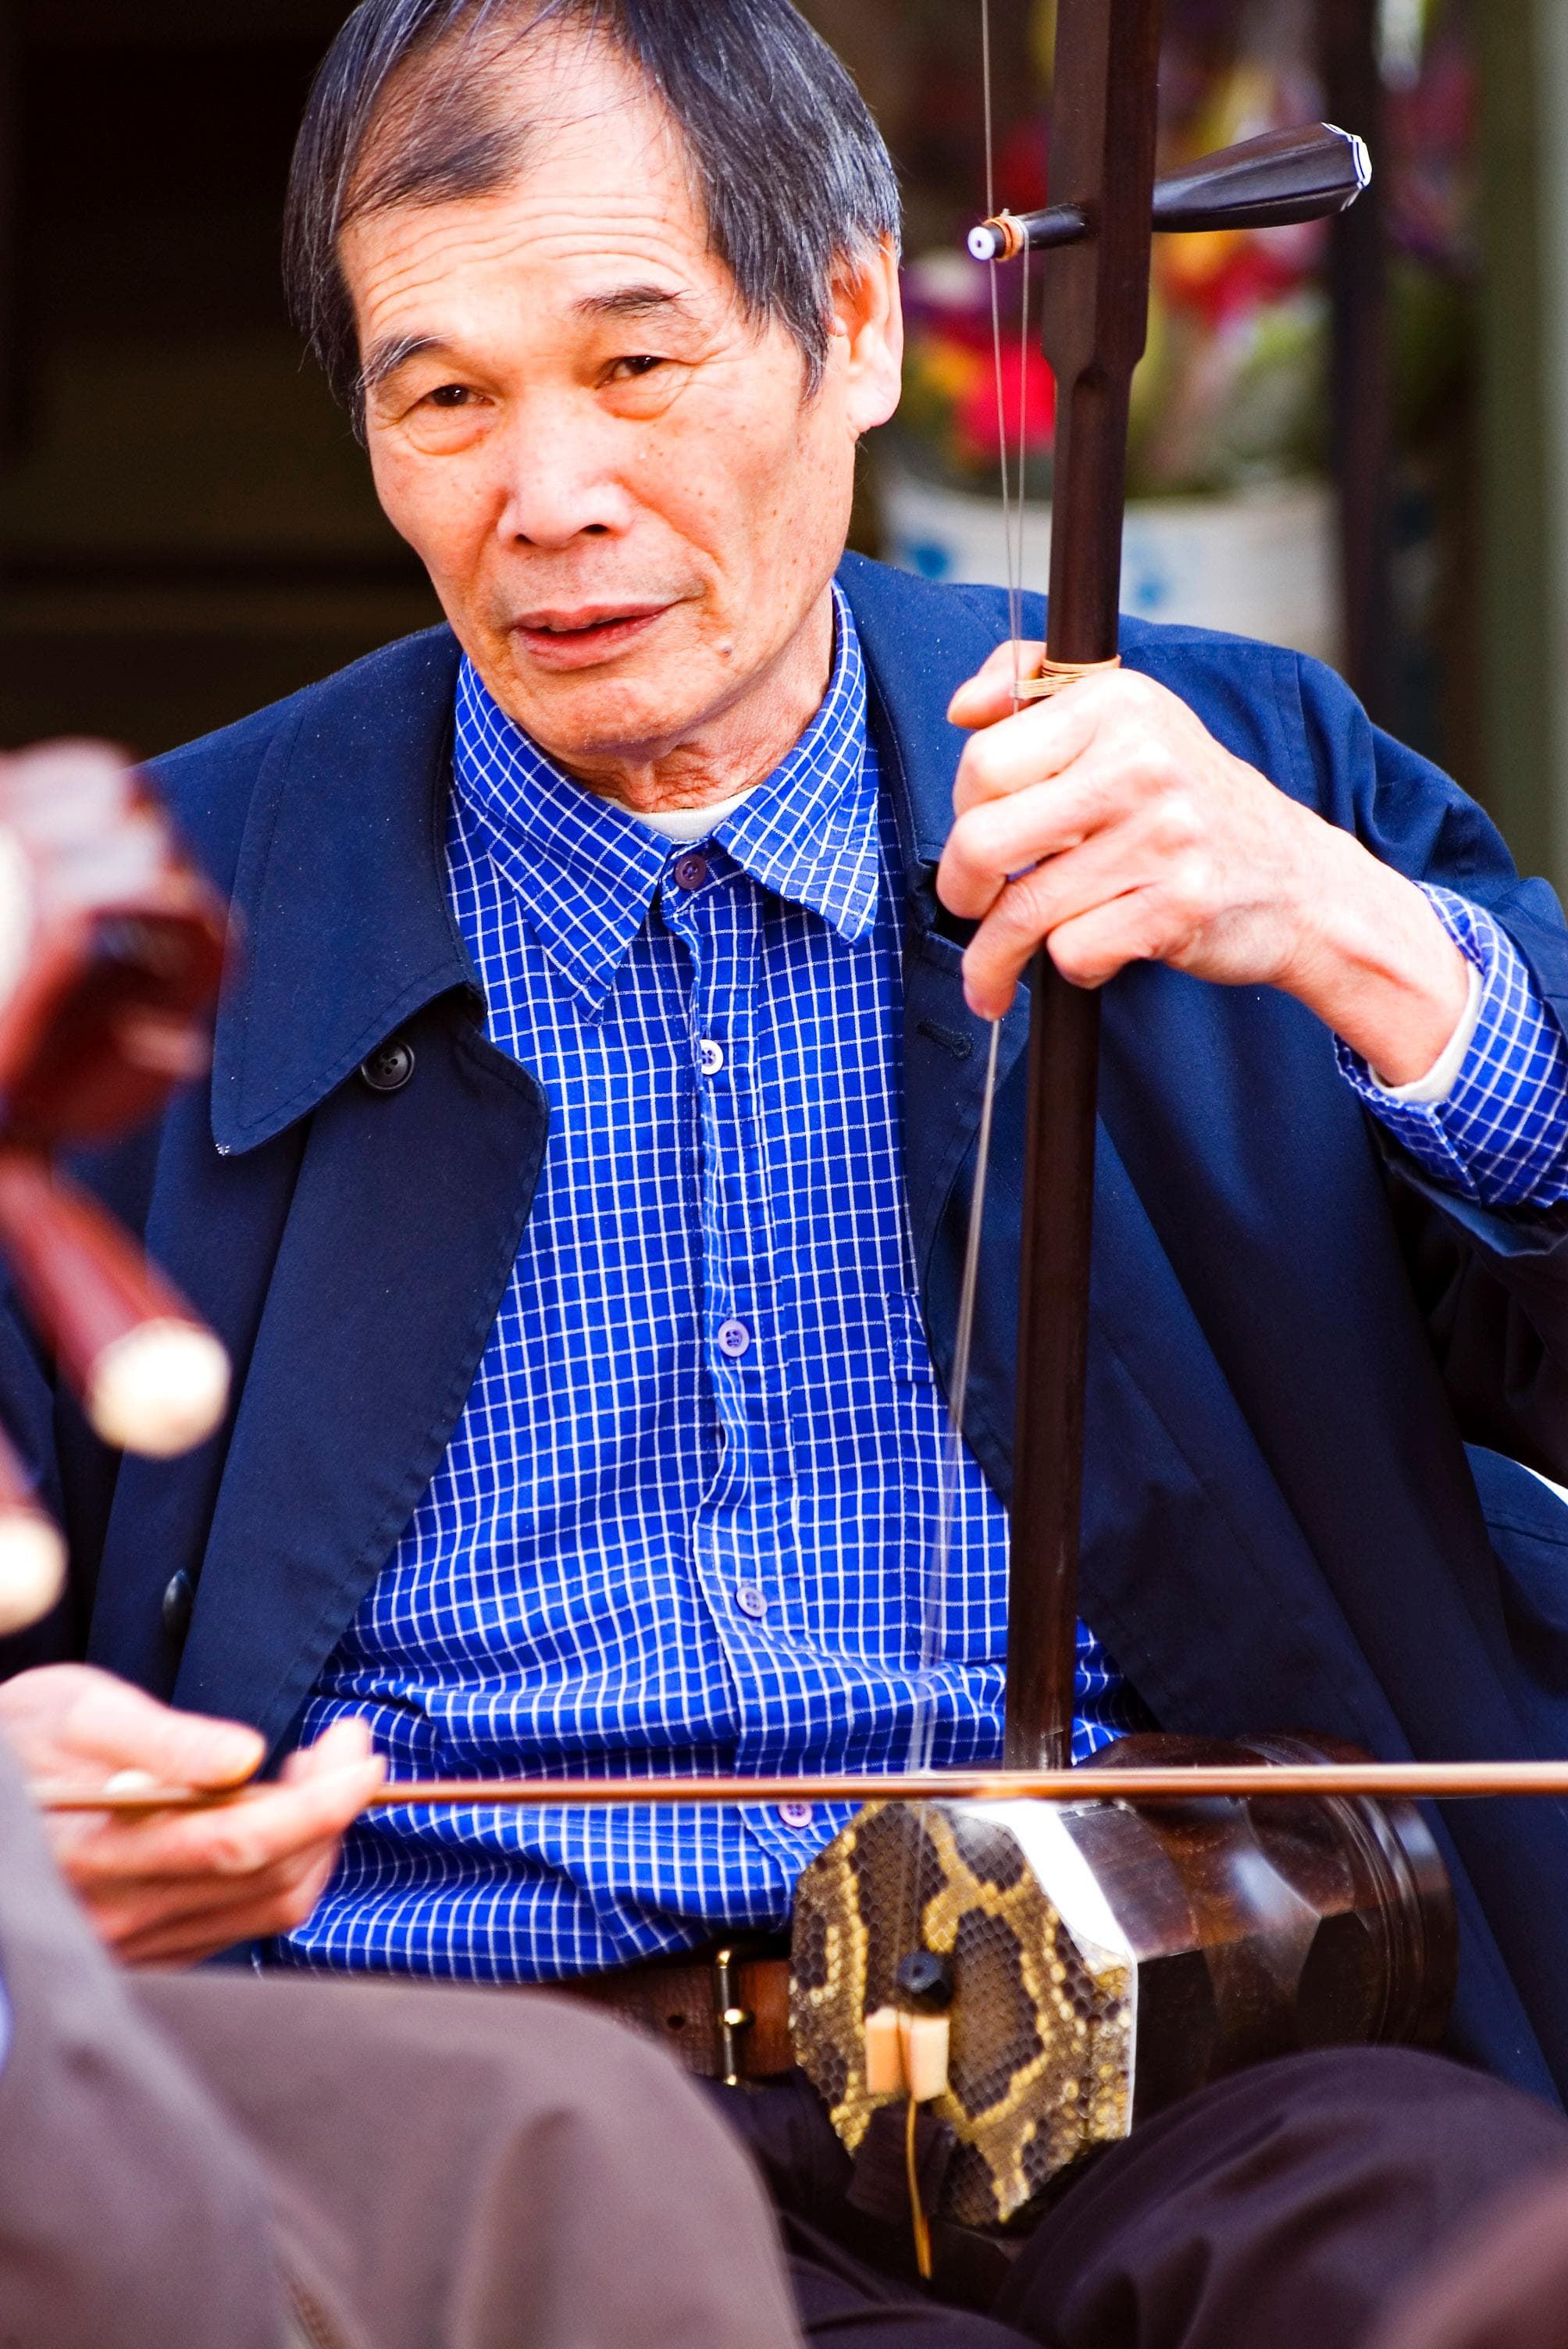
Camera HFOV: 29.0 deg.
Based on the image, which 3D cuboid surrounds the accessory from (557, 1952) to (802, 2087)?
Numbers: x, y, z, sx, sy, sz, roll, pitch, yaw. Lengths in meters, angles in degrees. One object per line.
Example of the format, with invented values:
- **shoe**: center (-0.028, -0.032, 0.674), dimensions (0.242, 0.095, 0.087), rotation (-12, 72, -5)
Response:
- **accessory**: center (-0.038, 0.401, 1.454), dimensions (0.168, 0.156, 0.044), rotation (-3, 83, 9)

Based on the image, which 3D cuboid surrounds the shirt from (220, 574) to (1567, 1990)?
- **shirt**: center (0.022, 0.086, 1.687), dimensions (0.486, 0.203, 0.722), rotation (12, 88, 29)
